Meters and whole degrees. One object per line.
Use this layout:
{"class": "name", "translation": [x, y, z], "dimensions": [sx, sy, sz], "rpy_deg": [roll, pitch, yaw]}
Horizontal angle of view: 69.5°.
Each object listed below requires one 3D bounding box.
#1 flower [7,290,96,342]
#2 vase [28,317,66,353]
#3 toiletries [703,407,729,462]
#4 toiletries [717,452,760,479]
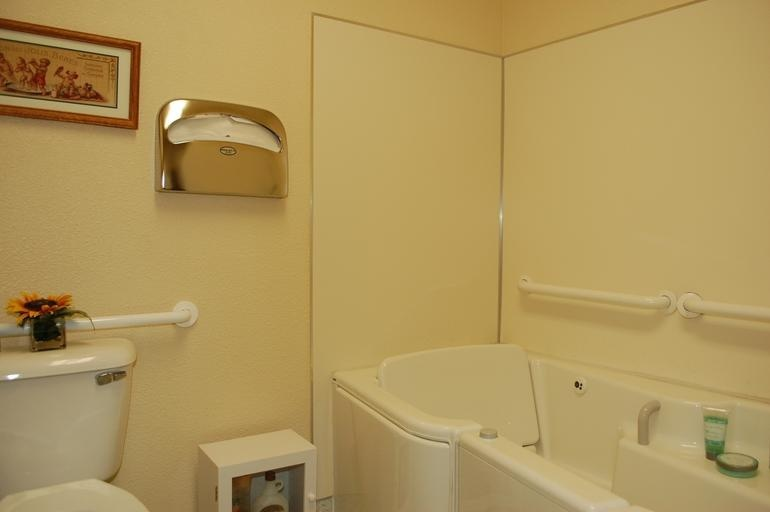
{"class": "flower", "translation": [-1.239, 0.183, 2.034], "dimensions": [0.199, 0.116, 0.200], "rpy_deg": [-4, 11, -42]}
{"class": "vase", "translation": [-1.254, 0.296, 2.032], "dimensions": [0.124, 0.128, 0.128], "rpy_deg": [-25, -20, 36]}
{"class": "toiletries", "translation": [1.277, 0.680, 2.142], "dimensions": [0.087, 0.191, 0.099], "rpy_deg": [5, 8, 33]}
{"class": "toiletries", "translation": [1.296, 0.763, 2.031], "dimensions": [0.130, 0.054, 0.113], "rpy_deg": [5, 8, 35]}
